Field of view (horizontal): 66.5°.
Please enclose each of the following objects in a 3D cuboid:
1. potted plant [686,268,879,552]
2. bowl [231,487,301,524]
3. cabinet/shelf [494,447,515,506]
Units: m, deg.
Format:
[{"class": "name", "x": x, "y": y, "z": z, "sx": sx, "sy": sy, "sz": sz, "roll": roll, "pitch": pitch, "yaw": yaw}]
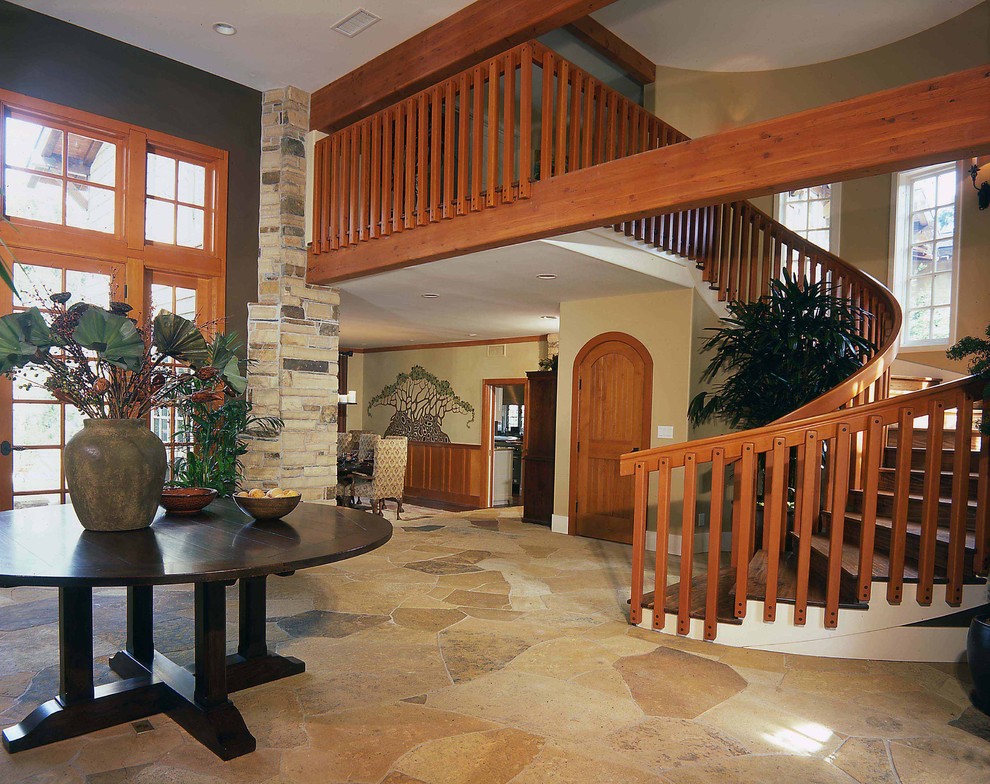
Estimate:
[{"class": "potted plant", "x": 2.392, "y": -0.194, "z": 7.093, "sx": 1.892, "sy": 2.025, "sz": 1.583, "roll": 1, "pitch": -2, "yaw": -14}, {"class": "bowl", "x": -1.251, "y": 0.594, "z": 4.073, "sx": 0.231, "sy": 0.082, "sz": 0.223, "roll": -1, "pitch": -2, "yaw": 0}, {"class": "cabinet/shelf", "x": 0.132, "y": 1.427, "z": 13.017, "sx": 0.330, "sy": 0.927, "sz": 0.543, "roll": 2, "pitch": 7, "yaw": 5}]
